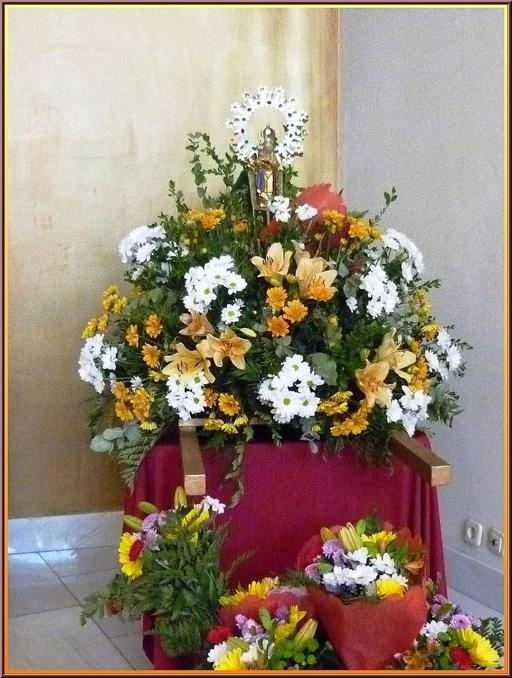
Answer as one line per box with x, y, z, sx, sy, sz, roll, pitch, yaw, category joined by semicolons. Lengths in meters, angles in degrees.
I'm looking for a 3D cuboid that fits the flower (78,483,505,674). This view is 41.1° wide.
0.067;0.460;1.259;0.737;0.346;0.394;1;5;19;flower

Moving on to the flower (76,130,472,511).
-0.048;0.058;1.880;1.022;0.695;0.838;-5;44;-12;flower
